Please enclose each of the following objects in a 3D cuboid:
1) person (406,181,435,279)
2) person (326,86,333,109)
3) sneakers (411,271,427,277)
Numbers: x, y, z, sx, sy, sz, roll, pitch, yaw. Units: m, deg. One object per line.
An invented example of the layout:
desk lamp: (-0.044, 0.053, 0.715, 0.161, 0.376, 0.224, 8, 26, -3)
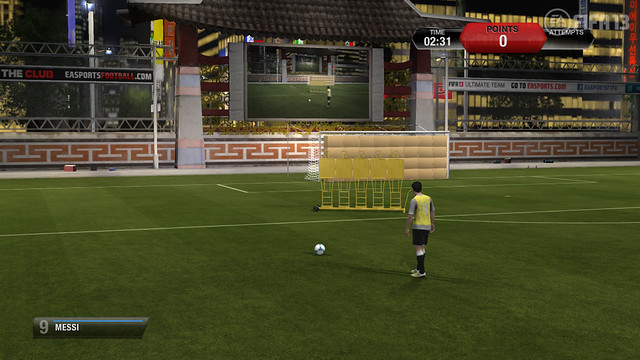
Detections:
person: (2.666, 1.312, 14.930, 0.691, 2.593, 0.915, 2, 13, 9)
person: (0.652, -6.237, 41.097, 0.522, 1.573, 0.316, -5, 13, -22)
sneakers: (2.635, 2.572, 14.924, 0.434, 0.164, 0.151, 1, 1, 6)
